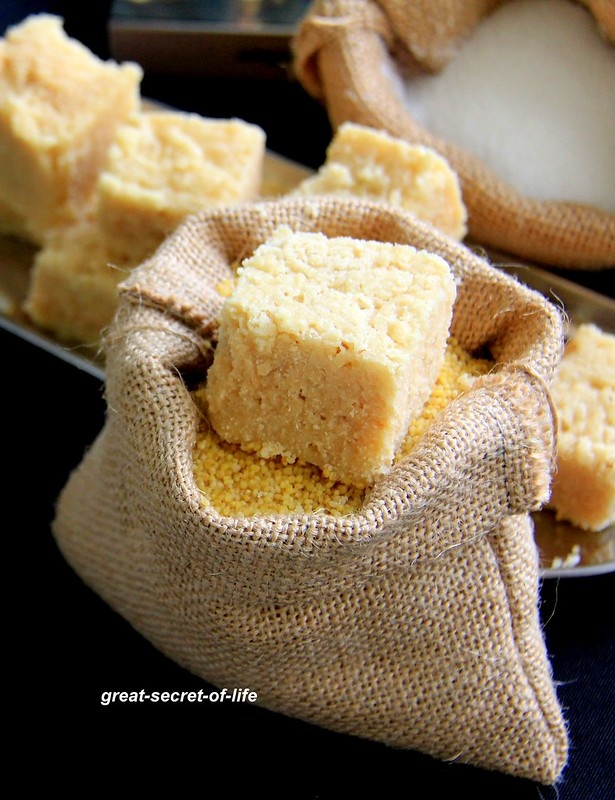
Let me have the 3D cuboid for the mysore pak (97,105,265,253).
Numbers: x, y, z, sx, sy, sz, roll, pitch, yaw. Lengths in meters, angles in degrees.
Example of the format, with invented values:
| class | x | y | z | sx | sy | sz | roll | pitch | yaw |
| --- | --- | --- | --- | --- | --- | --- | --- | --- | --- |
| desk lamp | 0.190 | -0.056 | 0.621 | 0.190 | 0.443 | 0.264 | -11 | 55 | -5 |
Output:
| class | x | y | z | sx | sy | sz | roll | pitch | yaw |
| --- | --- | --- | --- | --- | --- | --- | --- | --- | --- |
| mysore pak | -0.137 | -0.224 | 1.002 | 0.185 | 0.109 | 0.159 | 11 | 46 | 8 |

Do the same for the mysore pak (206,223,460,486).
| class | x | y | z | sx | sy | sz | roll | pitch | yaw |
| --- | --- | --- | --- | --- | --- | --- | --- | --- | --- |
| mysore pak | 0.022 | -0.040 | 0.665 | 0.169 | 0.123 | 0.167 | 22 | 45 | 27 |
